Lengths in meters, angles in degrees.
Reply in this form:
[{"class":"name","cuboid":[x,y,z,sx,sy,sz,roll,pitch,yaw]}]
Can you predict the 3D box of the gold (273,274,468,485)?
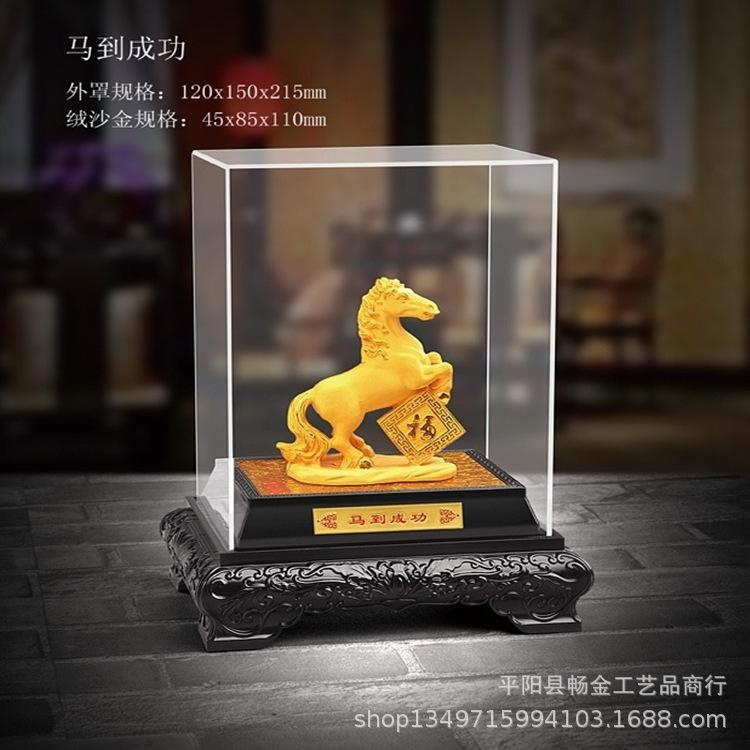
[{"class":"gold","cuboid":[-0.021,0.014,2.048,0.437,0.497,0.181,-1,10,-6]}]
